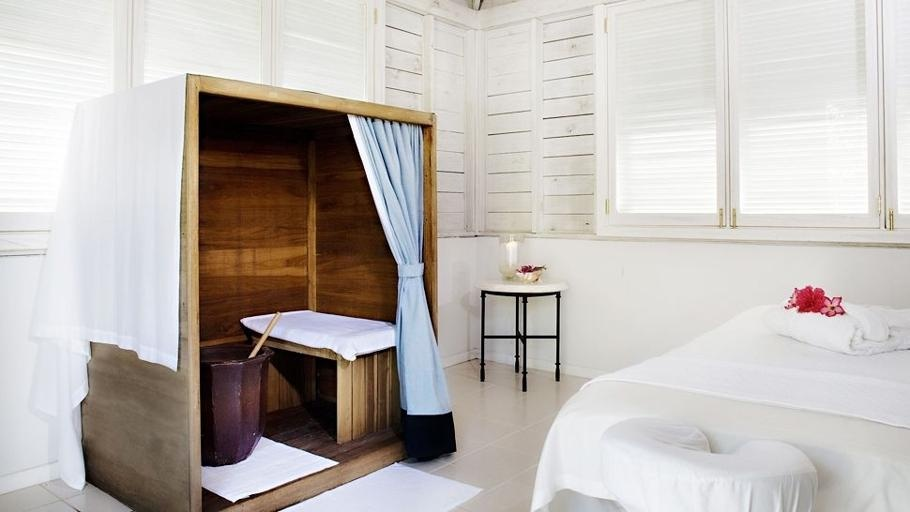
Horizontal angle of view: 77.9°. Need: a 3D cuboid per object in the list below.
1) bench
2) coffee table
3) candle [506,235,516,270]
[{"bbox_3d":[-1.027,0.698,4.632,1.537,0.914,1.035,3,4,40],"label":"bench"},{"bbox_3d":[0.710,0.763,5.809,1.131,1.040,1.053,0,0,21],"label":"coffee table"},{"bbox_3d":[0.587,-0.030,5.796,0.110,0.324,0.132,-1,16,-18],"label":"candle"}]
